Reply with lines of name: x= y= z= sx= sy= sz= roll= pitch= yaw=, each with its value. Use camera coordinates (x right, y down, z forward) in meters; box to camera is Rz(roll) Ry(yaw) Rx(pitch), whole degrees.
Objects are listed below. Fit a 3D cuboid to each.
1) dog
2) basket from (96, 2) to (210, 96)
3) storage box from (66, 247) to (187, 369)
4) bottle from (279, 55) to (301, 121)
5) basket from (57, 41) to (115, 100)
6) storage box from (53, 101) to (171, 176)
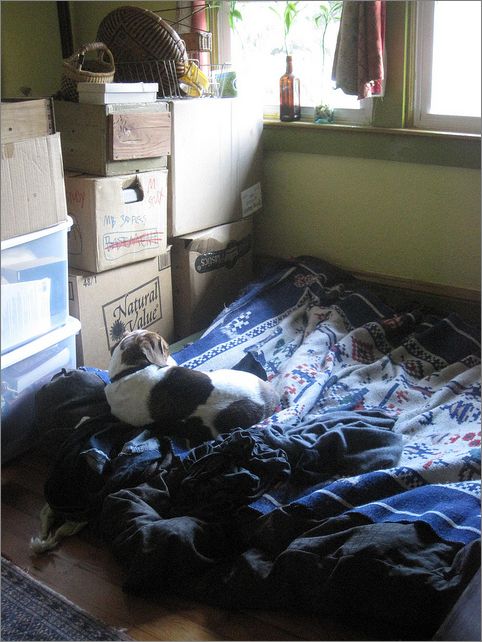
dog: x=-0.127 y=0.163 z=1.410 sx=0.404 sy=0.172 sz=0.248 roll=13 pitch=30 yaw=-4
basket: x=-0.383 y=-1.062 z=2.114 sx=0.340 sy=0.308 sz=0.214 roll=-5 pitch=19 yaw=-14
storage box: x=-0.424 y=-0.054 z=1.903 sx=0.132 sy=0.356 sz=0.413 roll=6 pitch=15 yaw=26
bottle: x=0.229 y=-1.089 z=2.513 sx=0.093 sy=0.278 sz=0.103 roll=1 pitch=18 yaw=4
basket: x=-0.583 y=-0.917 z=1.978 sx=0.204 sy=0.217 sz=0.521 roll=-5 pitch=19 yaw=-15
storage box: x=-0.462 y=-0.661 z=1.925 sx=0.341 sy=0.215 sz=0.329 roll=12 pitch=25 yaw=26
